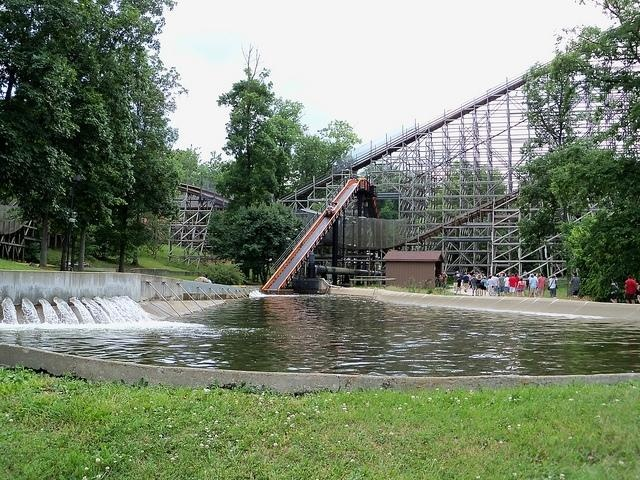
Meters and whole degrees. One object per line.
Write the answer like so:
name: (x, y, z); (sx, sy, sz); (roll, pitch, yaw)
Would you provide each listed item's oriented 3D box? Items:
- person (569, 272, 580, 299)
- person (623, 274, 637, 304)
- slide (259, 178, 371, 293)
person: (13.019, 2.274, 34.831); (0.390, 1.236, 1.758); (2, 1, 23)
person: (13.915, 2.169, 30.483); (0.483, 1.169, 1.125); (2, 1, 27)
slide: (-0.218, -0.191, 55.735); (1.361, 1.892, 16.113); (2, 34, 21)
